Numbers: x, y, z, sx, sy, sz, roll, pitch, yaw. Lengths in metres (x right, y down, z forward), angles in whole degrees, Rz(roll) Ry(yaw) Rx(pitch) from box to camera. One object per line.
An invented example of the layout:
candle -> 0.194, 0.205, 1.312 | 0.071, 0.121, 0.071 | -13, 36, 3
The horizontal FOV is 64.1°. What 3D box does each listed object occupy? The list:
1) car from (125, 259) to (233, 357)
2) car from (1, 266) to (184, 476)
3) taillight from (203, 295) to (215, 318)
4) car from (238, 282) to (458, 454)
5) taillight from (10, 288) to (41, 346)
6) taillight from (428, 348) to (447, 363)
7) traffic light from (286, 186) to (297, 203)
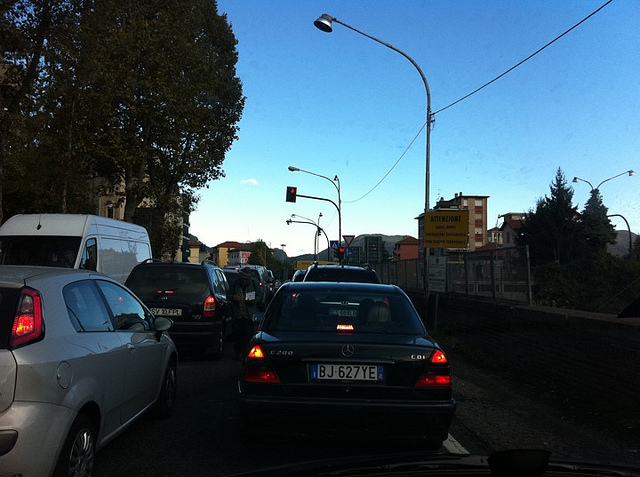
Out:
car -> -2.715, 1.359, 10.300 | 1.320, 1.316, 2.654 | 1, 3, 2
car -> -1.961, 1.051, 4.509 | 0.951, 1.020, 2.078 | 3, 4, 4
taillight -> -2.231, 1.373, 10.286 | 0.228, 0.423, 0.116 | 6, -5, -44
car -> 0.239, 1.162, 5.792 | 1.261, 1.115, 2.374 | 1, 1, -1
taillight -> -2.171, 0.571, 3.791 | 0.183, 0.509, 0.066 | 8, -45, -32
taillight -> 1.123, 1.106, 4.820 | 0.105, 0.128, 0.232 | -1, -5, 41
traffic light -> -1.999, -3.089, 35.425 | 0.577, 1.035, 0.714 | 1, -4, 15
